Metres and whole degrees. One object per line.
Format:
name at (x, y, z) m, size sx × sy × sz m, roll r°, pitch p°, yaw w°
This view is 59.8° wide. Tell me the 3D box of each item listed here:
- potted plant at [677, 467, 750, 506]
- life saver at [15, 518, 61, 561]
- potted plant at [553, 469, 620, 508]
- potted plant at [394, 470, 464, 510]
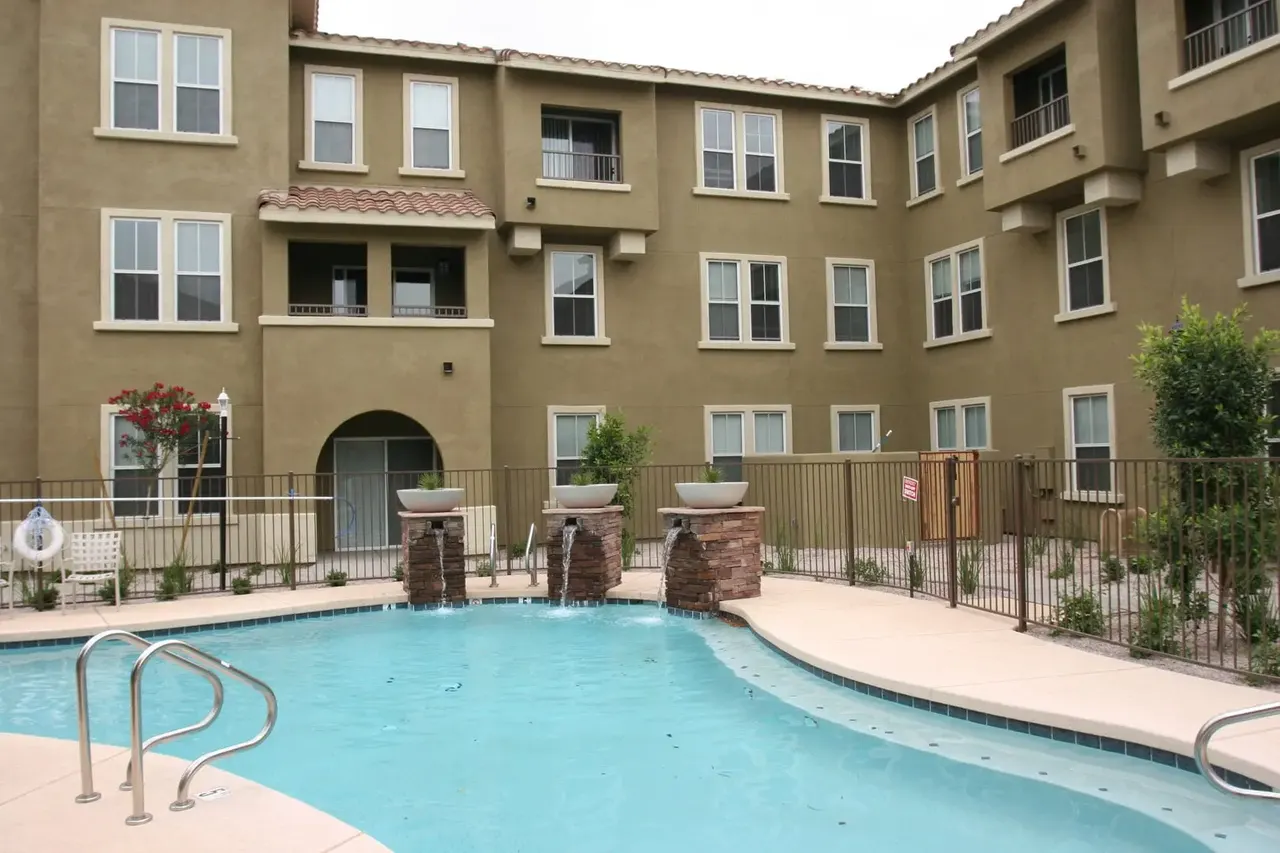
potted plant at (1.262, 1.085, 19.722) m, size 1.156 × 0.726 × 1.206 m, roll -1°, pitch -5°, yaw 7°
life saver at (-10.428, 2.080, 19.521) m, size 0.769 × 0.827 × 0.209 m, roll 6°, pitch -11°, yaw -15°
potted plant at (-1.071, 1.225, 21.162) m, size 1.137 × 0.667 × 1.220 m, roll 0°, pitch -5°, yaw 0°
potted plant at (-4.006, 1.351, 21.078) m, size 1.093 × 0.655 × 0.995 m, roll -1°, pitch -3°, yaw 3°
